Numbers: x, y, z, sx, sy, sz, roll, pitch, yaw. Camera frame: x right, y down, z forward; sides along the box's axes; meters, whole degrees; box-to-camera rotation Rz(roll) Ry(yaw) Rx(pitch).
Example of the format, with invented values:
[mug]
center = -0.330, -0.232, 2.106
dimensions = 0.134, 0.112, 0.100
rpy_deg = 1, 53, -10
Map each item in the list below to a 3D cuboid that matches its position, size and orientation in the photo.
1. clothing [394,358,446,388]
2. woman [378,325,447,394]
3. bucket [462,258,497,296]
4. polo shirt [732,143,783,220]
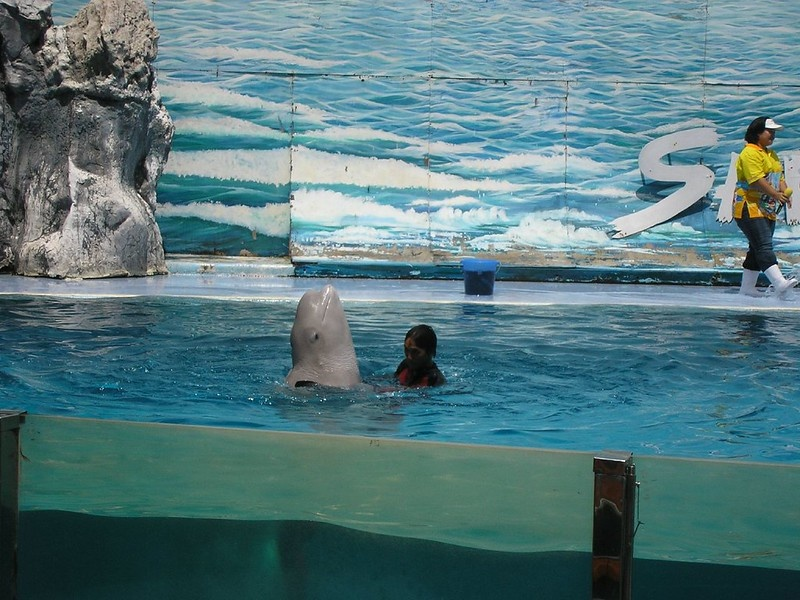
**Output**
[clothing]
center = 0.149, 0.562, 8.879
dimensions = 0.348, 0.101, 0.210
rpy_deg = 0, 10, -4
[woman]
center = 0.159, 0.424, 8.851
dimensions = 0.392, 0.469, 0.421
rpy_deg = 2, 1, 0
[bucket]
center = 0.910, -0.246, 13.473
dimensions = 0.584, 0.325, 0.425
rpy_deg = 1, -4, 0
[polo shirt]
center = 3.566, -1.159, 11.791
dimensions = 0.431, 0.738, 0.342
rpy_deg = 3, 2, 13
